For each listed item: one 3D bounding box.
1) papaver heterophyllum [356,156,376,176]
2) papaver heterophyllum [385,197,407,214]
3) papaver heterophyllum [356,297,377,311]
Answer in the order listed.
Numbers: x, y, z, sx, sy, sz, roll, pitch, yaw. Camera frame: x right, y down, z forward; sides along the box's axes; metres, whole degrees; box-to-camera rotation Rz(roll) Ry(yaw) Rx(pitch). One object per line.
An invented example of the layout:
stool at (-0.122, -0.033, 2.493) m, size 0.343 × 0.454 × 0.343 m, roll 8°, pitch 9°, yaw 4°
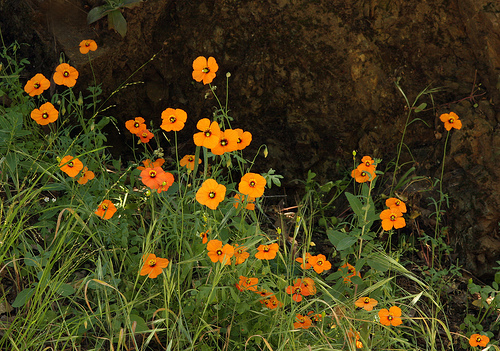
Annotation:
papaver heterophyllum at (0.944, -0.092, 4.062) m, size 0.140 × 0.067 × 0.163 m, roll -15°, pitch 56°, yaw 10°
papaver heterophyllum at (1.144, 0.240, 3.905) m, size 0.125 × 0.058 × 0.132 m, roll -5°, pitch 39°, yaw -29°
papaver heterophyllum at (0.817, 0.903, 3.503) m, size 0.108 × 0.050 × 0.118 m, roll -2°, pitch 30°, yaw 6°
